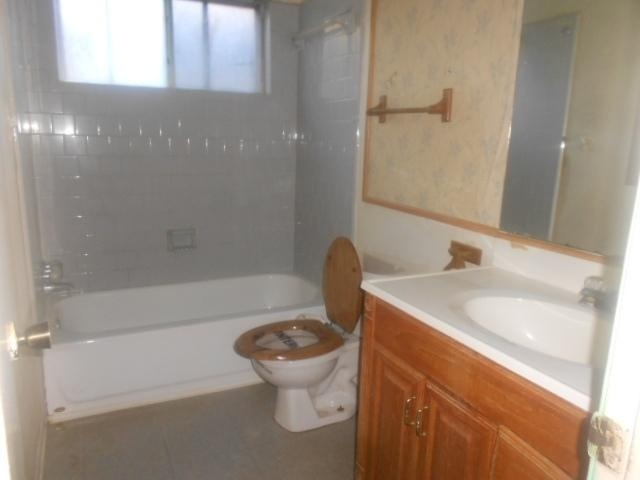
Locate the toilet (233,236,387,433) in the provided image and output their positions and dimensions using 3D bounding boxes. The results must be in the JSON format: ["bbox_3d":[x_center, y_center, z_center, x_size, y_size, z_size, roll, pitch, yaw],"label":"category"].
[{"bbox_3d":[-0.174,0.470,2.983,0.974,1.458,0.625,-3,10,-32],"label":"toilet"}]

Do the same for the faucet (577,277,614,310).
[{"bbox_3d":[0.880,0.168,1.511,0.096,0.098,0.091,-4,15,-33],"label":"faucet"}]
